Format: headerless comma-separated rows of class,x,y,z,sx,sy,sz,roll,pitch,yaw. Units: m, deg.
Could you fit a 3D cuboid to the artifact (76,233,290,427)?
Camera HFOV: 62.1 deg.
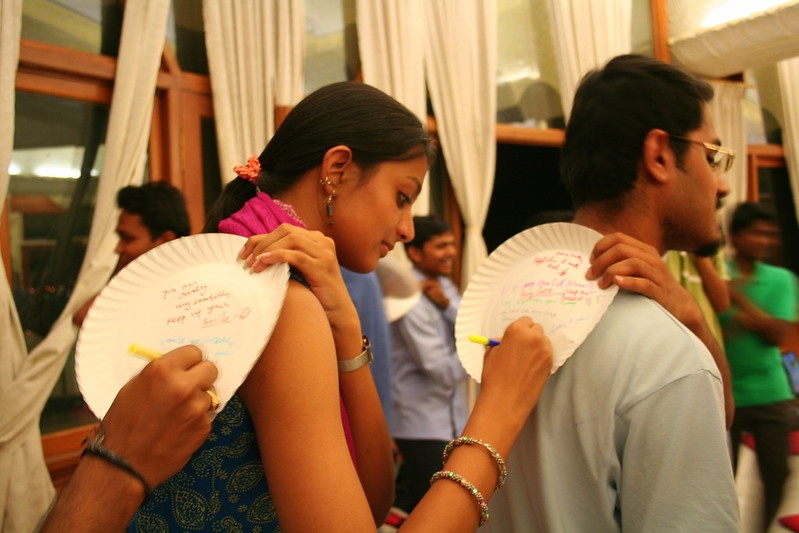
artifact,-0.609,0.159,1.881,0.572,0.507,0.164,2,1,4

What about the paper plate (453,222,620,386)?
paper plate,0.491,0.152,2.209,0.080,0.532,0.453,21,26,-40

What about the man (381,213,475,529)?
man,0.243,0.843,3.947,0.554,1.828,0.535,-1,0,7

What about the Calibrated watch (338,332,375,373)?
Calibrated watch,-0.130,0.267,2.225,0.091,0.033,0.089,39,-17,28

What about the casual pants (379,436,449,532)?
casual pants,0.102,1.158,3.672,0.189,0.547,0.410,4,-15,-3

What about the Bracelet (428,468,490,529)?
Bracelet,0.163,0.670,1.964,0.145,0.171,0.044,-22,-22,-41
